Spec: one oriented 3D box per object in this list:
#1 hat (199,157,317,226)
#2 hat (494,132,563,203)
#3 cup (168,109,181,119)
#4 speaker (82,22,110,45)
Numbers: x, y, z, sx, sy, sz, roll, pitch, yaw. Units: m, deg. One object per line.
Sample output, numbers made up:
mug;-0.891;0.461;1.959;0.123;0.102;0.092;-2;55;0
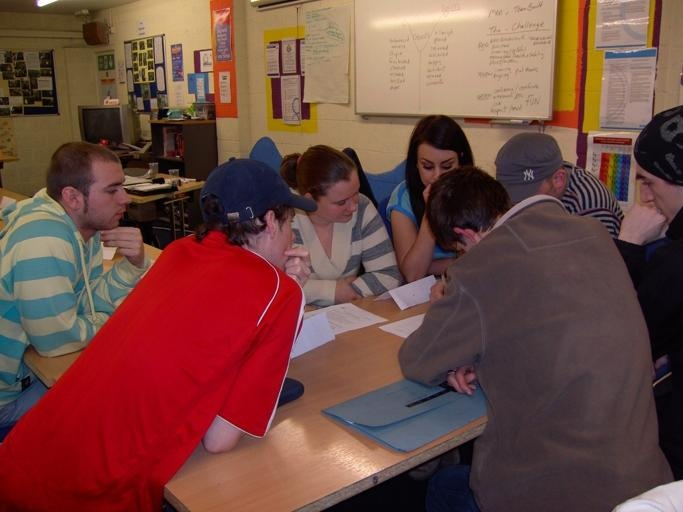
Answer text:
hat;-0.238;-0.200;1.490;0.236;0.138;0.165;-10;16;-23
hat;0.866;-0.447;2.342;0.342;0.181;0.238;-46;38;-21
cup;-2.024;-1.713;6.215;0.163;0.108;0.389;-9;16;-16
speaker;-3.604;-3.261;7.573;0.489;0.293;0.204;10;21;43
